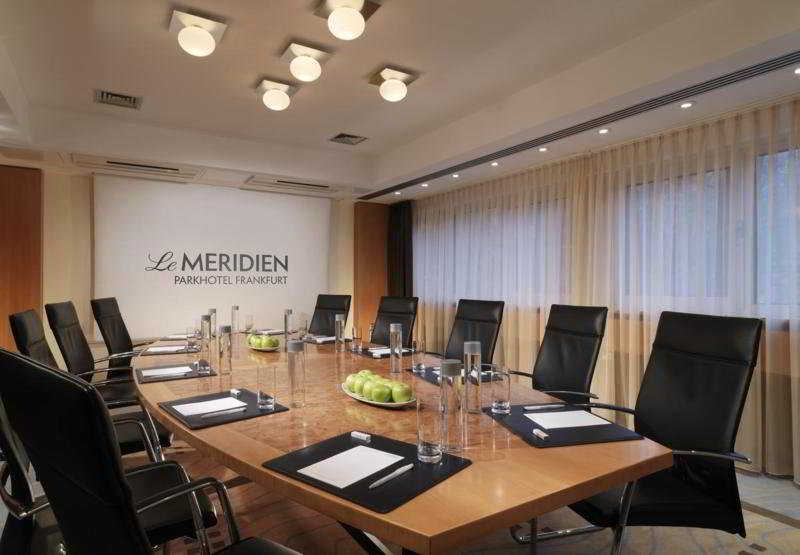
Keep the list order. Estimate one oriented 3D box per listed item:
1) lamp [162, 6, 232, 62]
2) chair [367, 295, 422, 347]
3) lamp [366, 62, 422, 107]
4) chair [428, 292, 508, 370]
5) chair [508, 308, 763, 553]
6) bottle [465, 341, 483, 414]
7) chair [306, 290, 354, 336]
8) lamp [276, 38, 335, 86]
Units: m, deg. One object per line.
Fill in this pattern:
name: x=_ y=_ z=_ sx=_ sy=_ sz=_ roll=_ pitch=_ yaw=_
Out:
lamp: x=-1.596 y=-1.901 z=4.056 sx=0.424 sy=0.312 sz=0.394 roll=-3 pitch=10 yaw=-22
chair: x=-0.006 y=0.437 z=5.215 sx=0.395 sy=0.616 sz=0.515 roll=-2 pitch=-8 yaw=31
lamp: x=-0.069 y=-1.728 z=4.735 sx=0.418 sy=0.204 sz=0.438 roll=2 pitch=-7 yaw=-8
chair: x=0.650 y=0.457 z=4.470 sx=0.482 sy=0.761 sz=0.600 roll=-1 pitch=-4 yaw=39
chair: x=1.502 y=0.869 z=3.743 sx=1.363 sy=2.034 sz=1.234 roll=3 pitch=-6 yaw=-19
bottle: x=0.404 y=0.558 z=2.840 sx=0.110 sy=0.384 sz=0.106 roll=0 pitch=-4 yaw=0
chair: x=-0.802 y=0.411 z=5.774 sx=0.411 sy=0.622 sz=0.502 roll=-1 pitch=-7 yaw=28
lamp: x=-0.799 y=-1.794 z=4.319 sx=0.391 sy=0.289 sz=0.252 roll=3 pitch=3 yaw=21
